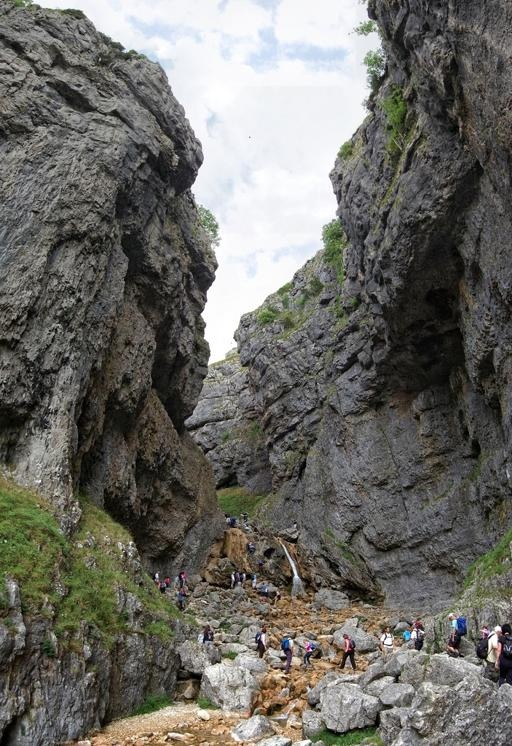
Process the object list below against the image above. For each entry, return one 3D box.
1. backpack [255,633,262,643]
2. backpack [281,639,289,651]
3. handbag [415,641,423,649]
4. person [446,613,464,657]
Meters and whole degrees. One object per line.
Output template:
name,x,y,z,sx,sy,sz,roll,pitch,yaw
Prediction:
backpack,0.109,9.656,23.200,0.213,0.360,0.490,1,-25,-2
backpack,1.018,9.233,21.619,0.245,0.494,0.632,0,-25,-1
handbag,5.062,8.457,19.788,0.226,0.245,0.399,-5,-26,11
person,5.311,7.032,17.081,0.387,1.092,1.887,-7,-26,15
